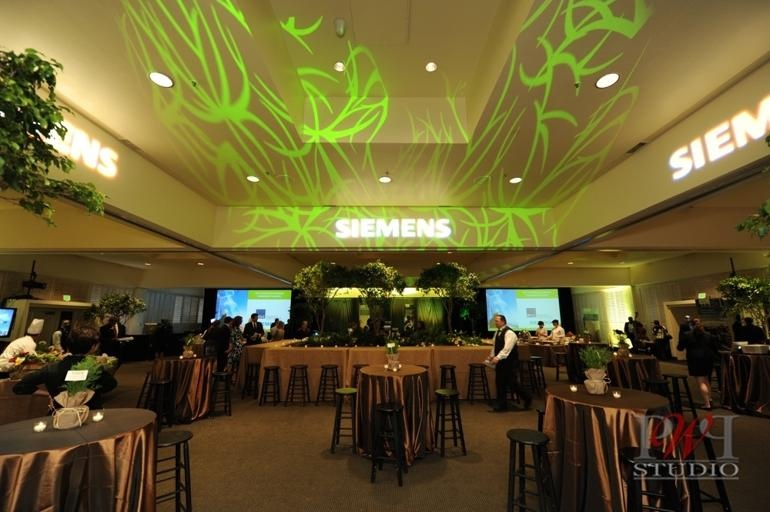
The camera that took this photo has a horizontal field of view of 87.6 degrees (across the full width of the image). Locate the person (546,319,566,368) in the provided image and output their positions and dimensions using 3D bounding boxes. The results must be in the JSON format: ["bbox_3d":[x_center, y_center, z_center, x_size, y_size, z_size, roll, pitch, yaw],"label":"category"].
[{"bbox_3d":[4.966,2.441,11.618,0.360,1.136,0.459,0,-6,-33],"label":"person"}]

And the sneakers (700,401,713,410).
[{"bbox_3d":[5.705,2.644,7.135,0.092,0.170,0.176,3,-28,4],"label":"sneakers"}]

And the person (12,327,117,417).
[{"bbox_3d":[-3.479,1.304,4.410,0.818,0.940,0.662,-1,0,-15],"label":"person"}]
